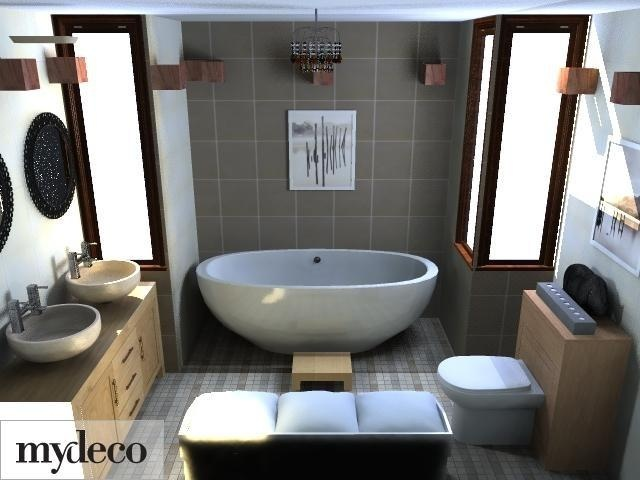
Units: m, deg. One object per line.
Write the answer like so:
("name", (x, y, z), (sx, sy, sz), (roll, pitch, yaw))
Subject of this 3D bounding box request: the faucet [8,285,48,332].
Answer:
("faucet", (-1.857, 0.444, 2.781), (0.179, 0.185, 0.281), (1, 14, -3))

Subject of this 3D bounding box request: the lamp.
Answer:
("lamp", (-0.036, -1.635, 3.574), (0.378, 0.470, 0.249), (3, 25, 5))

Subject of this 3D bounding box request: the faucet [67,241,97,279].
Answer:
("faucet", (-1.871, 0.164, 3.443), (0.113, 0.175, 0.272), (0, 12, -4))

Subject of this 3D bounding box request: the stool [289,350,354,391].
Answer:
("stool", (0.013, 1.174, 3.762), (0.480, 0.292, 0.393), (-1, 20, 1))

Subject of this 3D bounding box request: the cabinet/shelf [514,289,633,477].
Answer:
("cabinet/shelf", (1.718, 0.995, 2.948), (0.389, 0.957, 1.026), (1, 21, 3))

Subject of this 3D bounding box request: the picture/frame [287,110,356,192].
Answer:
("picture/frame", (0.005, -0.965, 4.554), (0.777, 0.826, 0.041), (1, 24, 3))

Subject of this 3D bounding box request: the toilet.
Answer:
("toilet", (1.249, 1.232, 3.391), (0.725, 0.521, 0.592), (1, 11, 1))
